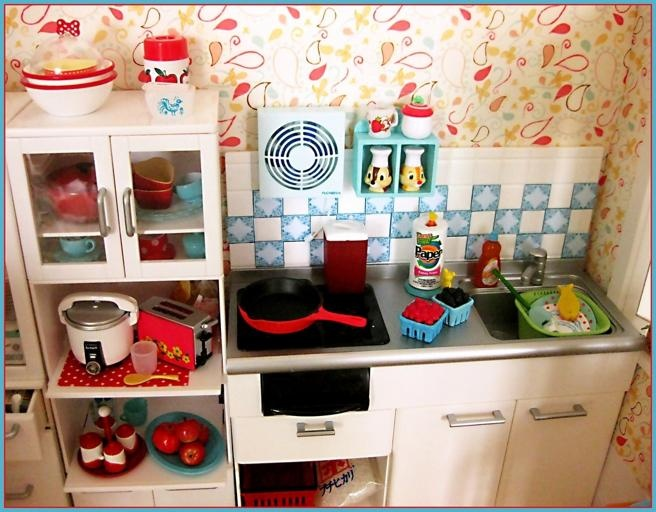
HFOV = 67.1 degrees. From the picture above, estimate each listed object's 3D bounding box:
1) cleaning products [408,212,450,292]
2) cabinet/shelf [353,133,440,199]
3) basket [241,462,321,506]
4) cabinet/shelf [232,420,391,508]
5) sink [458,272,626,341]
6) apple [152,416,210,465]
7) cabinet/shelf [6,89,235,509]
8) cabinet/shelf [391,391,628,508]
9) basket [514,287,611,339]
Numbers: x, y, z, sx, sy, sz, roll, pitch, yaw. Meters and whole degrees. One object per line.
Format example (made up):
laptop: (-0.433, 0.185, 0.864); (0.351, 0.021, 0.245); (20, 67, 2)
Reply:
cleaning products: (0.408, -0.019, 2.035); (0.140, 0.331, 0.133); (1, 24, 7)
cabinet/shelf: (0.258, -0.350, 1.891); (0.252, 0.211, 0.091); (0, 31, -2)
basket: (-0.212, 0.978, 2.220); (0.284, 0.154, 0.198); (-2, -1, -4)
cabinet/shelf: (-0.056, 0.834, 1.882); (0.420, 0.349, 0.238); (0, 46, -5)
sink: (0.940, 0.222, 2.030); (0.274, 0.152, 0.417); (-4, 28, -4)
apple: (-0.582, 0.734, 1.955); (0.206, 0.095, 0.151); (5, 55, 0)
cabinet/shelf: (-0.760, 0.238, 1.814); (0.795, 1.605, 0.459); (-3, 18, -10)
cabinet/shelf: (0.672, 0.810, 2.293); (0.899, 0.515, 0.636); (0, -1, -1)
basket: (0.935, 0.253, 1.987); (0.356, 0.157, 0.331); (1, 17, 2)
